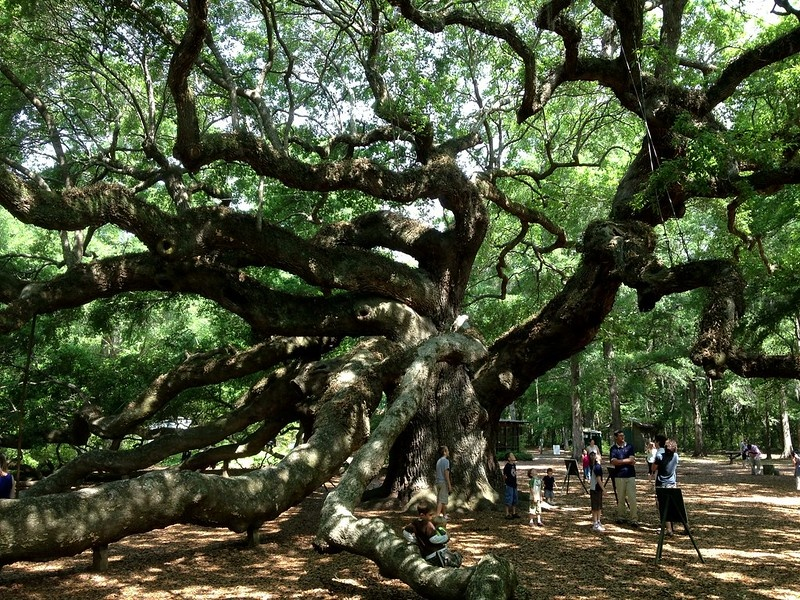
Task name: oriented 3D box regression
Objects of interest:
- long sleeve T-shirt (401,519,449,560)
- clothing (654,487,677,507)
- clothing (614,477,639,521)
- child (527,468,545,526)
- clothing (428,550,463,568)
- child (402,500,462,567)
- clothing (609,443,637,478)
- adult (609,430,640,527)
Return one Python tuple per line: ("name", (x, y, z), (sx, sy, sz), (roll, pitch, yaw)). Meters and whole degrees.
("long sleeve T-shirt", (0.532, 4.292, 12.548), (0.569, 0.762, 0.896), (-3, -12, -37))
("clothing", (5.376, 4.076, 14.512), (0.644, 0.486, 0.135), (1, 4, 5))
("clothing", (5.513, 4.833, 17.038), (0.598, 1.157, 0.469), (-12, -30, 41))
("child", (3.278, 4.825, 17.136), (0.339, 1.311, 1.230), (-5, -10, 10))
("clothing", (0.789, 4.544, 12.243), (0.520, 0.167, 0.311), (9, -18, -19))
("child", (0.615, 4.296, 12.538), (1.094, 1.208, 0.724), (-4, -11, -7))
("clothing", (5.348, 3.913, 16.924), (0.524, 0.796, 0.569), (-5, -10, 12))
("adult", (5.449, 4.280, 16.973), (0.721, 2.149, 0.765), (16, -22, -42))
